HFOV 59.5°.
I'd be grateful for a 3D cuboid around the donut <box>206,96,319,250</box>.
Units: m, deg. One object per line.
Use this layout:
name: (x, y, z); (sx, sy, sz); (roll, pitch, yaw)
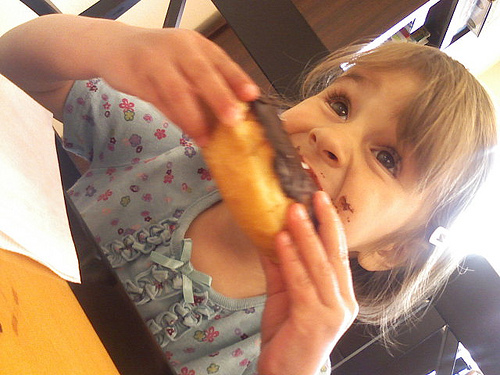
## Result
donut: (0.021, -0.011, 0.614); (0.151, 0.179, 0.142); (35, 48, 25)
